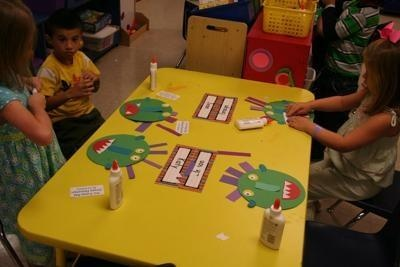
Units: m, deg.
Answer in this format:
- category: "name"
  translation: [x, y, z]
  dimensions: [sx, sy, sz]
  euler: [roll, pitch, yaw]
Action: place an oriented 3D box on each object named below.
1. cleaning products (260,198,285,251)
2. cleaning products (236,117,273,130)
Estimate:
- category: "cleaning products"
  translation: [0.300, 0.367, 1.307]
  dimensions: [0.094, 0.226, 0.050]
  euler: [22, 31, 35]
- category: "cleaning products"
  translation: [0.315, -0.059, 1.884]
  dimensions: [0.218, 0.054, 0.072]
  euler: [1, 77, -20]
